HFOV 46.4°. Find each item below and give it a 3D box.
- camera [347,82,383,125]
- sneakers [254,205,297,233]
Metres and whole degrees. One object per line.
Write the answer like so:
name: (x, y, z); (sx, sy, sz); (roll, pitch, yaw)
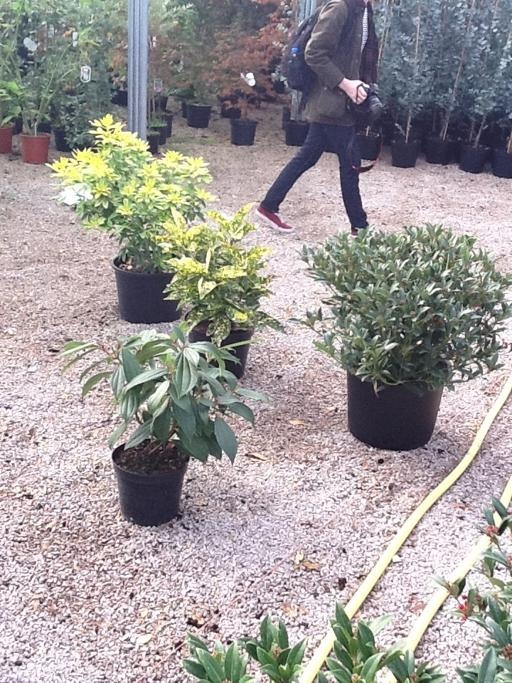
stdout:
camera: (0.756, -1.595, 4.100); (0.300, 0.292, 0.139); (-11, 8, -7)
sneakers: (0.145, -0.956, 4.701); (0.374, 0.150, 0.134); (33, 21, -24)
